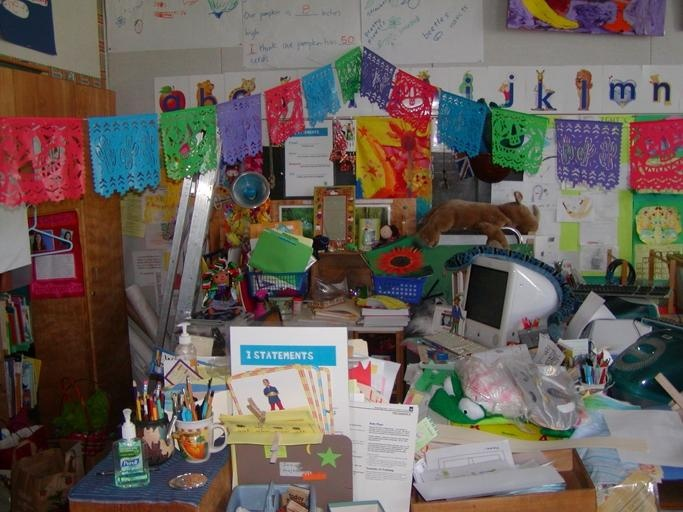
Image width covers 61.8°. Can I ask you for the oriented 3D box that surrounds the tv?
[{"bbox_3d":[0.820,0.187,2.997,0.418,0.501,0.436,-2,2,-21],"label":"tv"}]

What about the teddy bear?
[{"bbox_3d":[0.933,-0.242,3.947,0.855,0.375,0.182,-2,5,-4],"label":"teddy bear"}]

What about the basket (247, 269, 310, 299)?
[{"bbox_3d":[-0.391,0.132,3.581,0.335,0.163,0.205,1,14,4],"label":"basket"}]

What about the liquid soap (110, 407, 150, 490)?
[{"bbox_3d":[-0.696,0.627,1.880,0.089,0.240,0.089,-1,4,-12],"label":"liquid soap"}]

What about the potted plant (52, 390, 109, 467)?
[{"bbox_3d":[-1.489,0.986,3.516,0.398,0.525,0.391,5,9,-14],"label":"potted plant"}]
